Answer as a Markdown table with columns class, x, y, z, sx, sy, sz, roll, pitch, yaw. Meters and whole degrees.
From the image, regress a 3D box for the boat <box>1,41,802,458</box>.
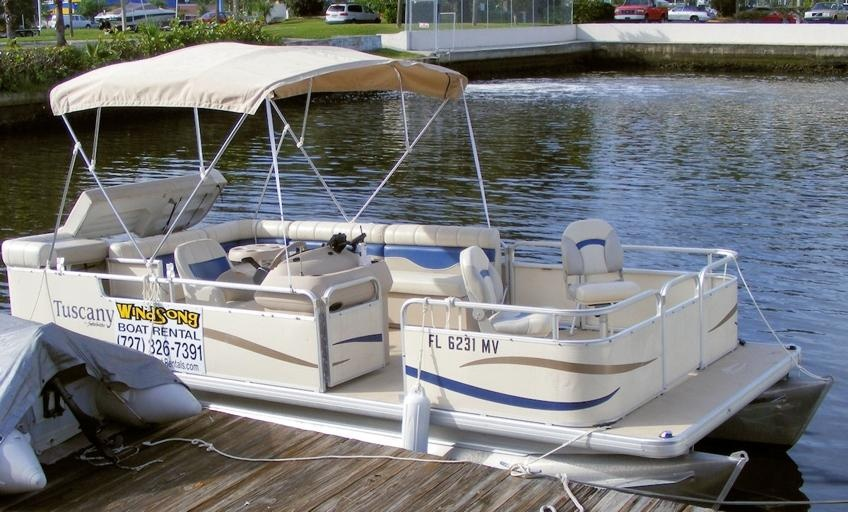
| class | x | y | z | sx | sy | sz | roll | pitch | yaw |
| --- | --- | --- | --- | --- | --- | --- | --- | --- | --- |
| boat | -0.543 | -0.311 | 11.853 | 9.327 | 3.646 | 4.743 | 4 | 12 | 30 |

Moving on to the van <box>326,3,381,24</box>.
| class | x | y | z | sx | sy | sz | roll | pitch | yaw |
| --- | --- | --- | --- | --- | --- | --- | --- | --- | --- |
| van | -3.606 | -12.254 | 49.235 | 1.295 | 0.798 | 2.726 | 13 | 19 | 38 |
